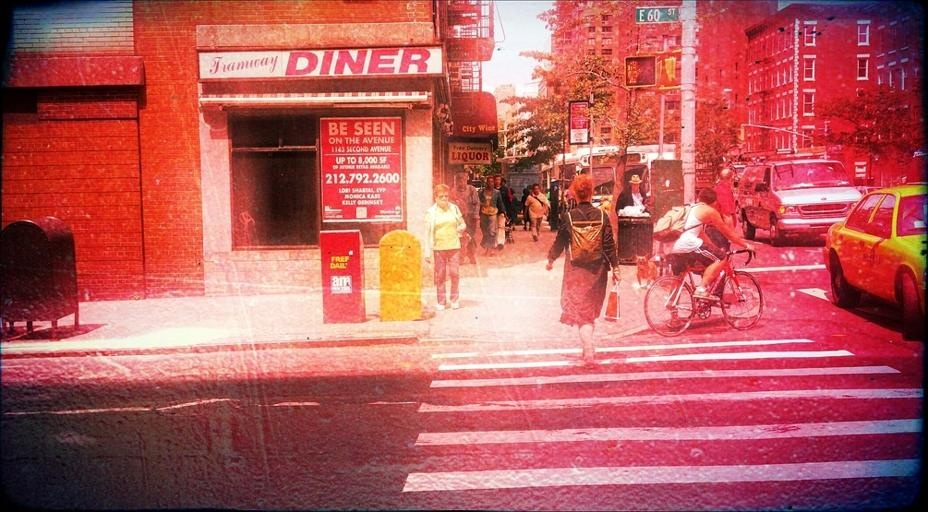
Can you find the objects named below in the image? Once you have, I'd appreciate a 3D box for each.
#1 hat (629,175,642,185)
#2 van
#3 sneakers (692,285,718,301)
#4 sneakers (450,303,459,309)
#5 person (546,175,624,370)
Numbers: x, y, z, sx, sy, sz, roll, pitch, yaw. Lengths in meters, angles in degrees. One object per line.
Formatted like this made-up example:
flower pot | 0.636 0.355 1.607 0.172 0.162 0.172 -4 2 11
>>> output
hat | 4.953 -2.163 23.792 0.385 0.143 0.400 0 2 -1
van | 11.154 -1.931 28.262 2.511 1.766 4.741 -1 4 0
sneakers | 4.953 0.784 16.971 0.638 0.217 0.262 1 -27 -4
sneakers | -0.212 1.210 19.652 0.134 0.115 0.186 -1 -4 2
person | 2.283 0.265 15.650 1.179 3.514 0.457 -1 4 6
